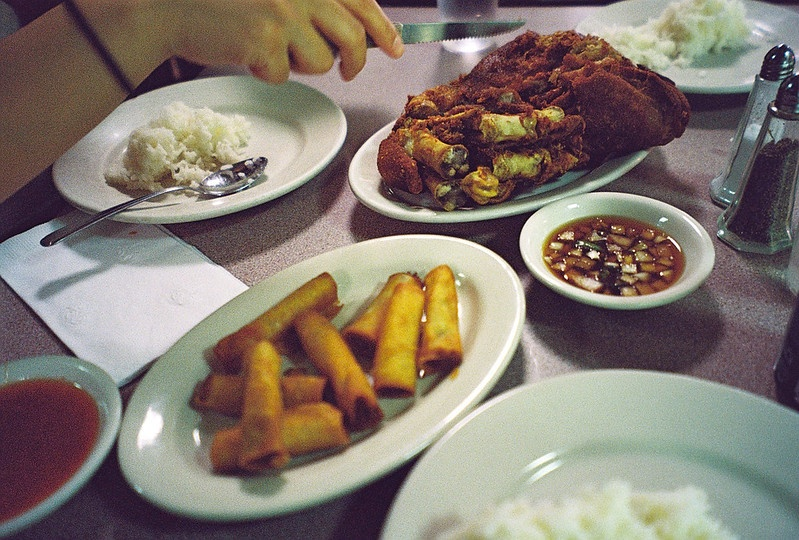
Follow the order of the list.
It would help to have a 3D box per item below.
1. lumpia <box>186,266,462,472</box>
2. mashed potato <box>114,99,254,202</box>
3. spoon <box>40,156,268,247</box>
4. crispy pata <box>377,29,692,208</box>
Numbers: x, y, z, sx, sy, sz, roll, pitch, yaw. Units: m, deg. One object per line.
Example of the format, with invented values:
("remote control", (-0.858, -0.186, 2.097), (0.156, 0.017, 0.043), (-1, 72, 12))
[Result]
("lumpia", (-0.083, 0.126, 0.827), (0.217, 0.073, 0.316), (28, 48, 32))
("mashed potato", (-0.473, -0.259, 1.242), (0.250, 0.083, 0.289), (31, 37, 11))
("spoon", (-0.453, -0.129, 1.151), (0.320, 0.039, 0.060), (-26, 43, -22))
("crispy pata", (0.242, -0.295, 1.155), (0.514, 0.200, 0.365), (-15, 30, -6))
